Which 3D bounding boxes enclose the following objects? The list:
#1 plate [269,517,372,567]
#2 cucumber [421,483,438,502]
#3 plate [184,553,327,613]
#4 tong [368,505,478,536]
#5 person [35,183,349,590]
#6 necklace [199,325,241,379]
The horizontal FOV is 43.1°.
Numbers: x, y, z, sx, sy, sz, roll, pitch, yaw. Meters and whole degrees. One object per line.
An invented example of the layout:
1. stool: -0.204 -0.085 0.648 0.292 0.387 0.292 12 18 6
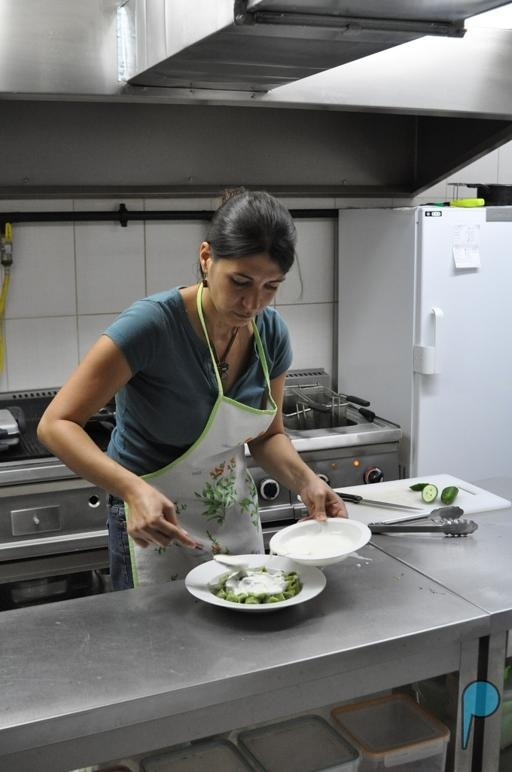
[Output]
1. plate: 0.108 0.263 1.057 0.152 0.037 0.156 -9 2 21
2. cucumber: 0.407 0.251 1.515 0.037 0.035 0.045 -1 4 1
3. plate: 0.001 0.293 0.999 0.112 0.018 0.113 2 12 9
4. tong: 0.344 0.285 1.332 0.161 0.032 0.082 -6 11 -5
5. person: -0.102 0.057 1.151 0.540 0.749 0.522 -2 4 -19
6. necklace: -0.071 -0.057 1.236 0.027 0.074 0.073 13 12 30
